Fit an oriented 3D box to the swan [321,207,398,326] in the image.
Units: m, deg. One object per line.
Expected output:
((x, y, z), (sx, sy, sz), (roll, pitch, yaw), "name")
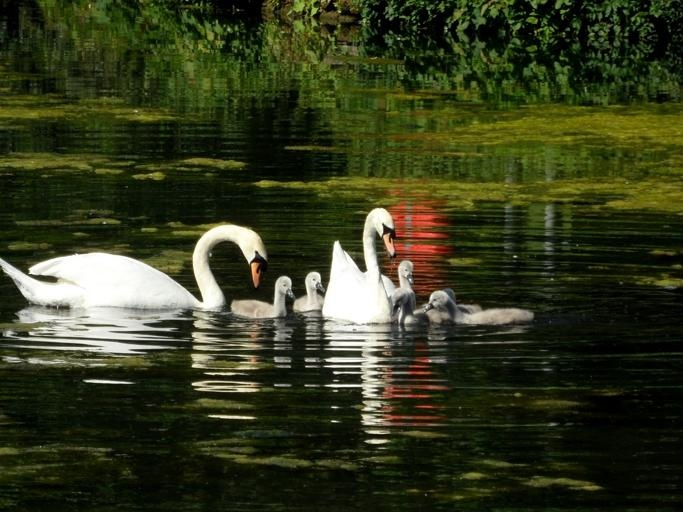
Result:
((0.421, 0.208, 11.704), (0.650, 0.916, 1.346), (-1, 14, -29), "swan")

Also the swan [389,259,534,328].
((0.991, 0.444, 11.316), (1.495, 0.529, 0.434), (-2, -1, 2), "swan")
